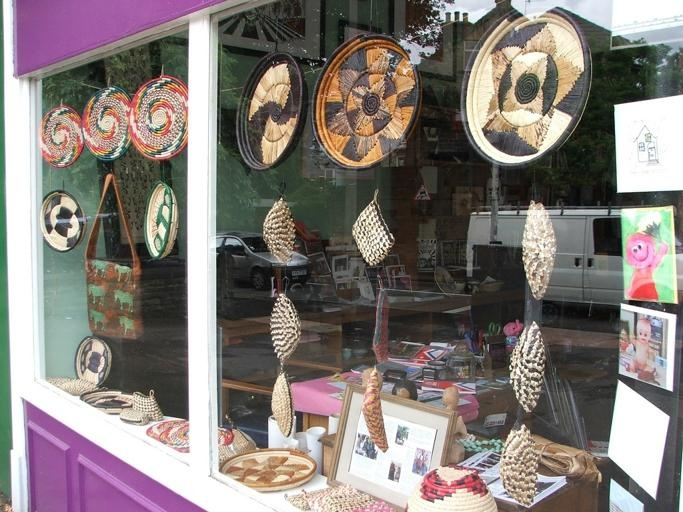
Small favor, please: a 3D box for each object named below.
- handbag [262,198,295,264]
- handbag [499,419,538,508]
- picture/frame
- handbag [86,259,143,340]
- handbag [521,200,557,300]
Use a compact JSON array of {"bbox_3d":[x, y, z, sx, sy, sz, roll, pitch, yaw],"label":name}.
[{"bbox_3d":[-0.206,-0.081,2.075,0.111,0.219,0.054,2,2,7],"label":"handbag"},{"bbox_3d":[0.446,0.527,1.568,0.090,0.238,0.111,2,3,16],"label":"handbag"},{"bbox_3d":[0.162,0.551,1.794,0.300,0.284,0.034,14,-5,36],"label":"picture/frame"},{"bbox_3d":[-0.992,0.187,2.757,0.333,0.376,0.185,1,1,44],"label":"handbag"},{"bbox_3d":[0.481,-0.012,1.514,0.075,0.233,0.063,2,3,19],"label":"handbag"}]
